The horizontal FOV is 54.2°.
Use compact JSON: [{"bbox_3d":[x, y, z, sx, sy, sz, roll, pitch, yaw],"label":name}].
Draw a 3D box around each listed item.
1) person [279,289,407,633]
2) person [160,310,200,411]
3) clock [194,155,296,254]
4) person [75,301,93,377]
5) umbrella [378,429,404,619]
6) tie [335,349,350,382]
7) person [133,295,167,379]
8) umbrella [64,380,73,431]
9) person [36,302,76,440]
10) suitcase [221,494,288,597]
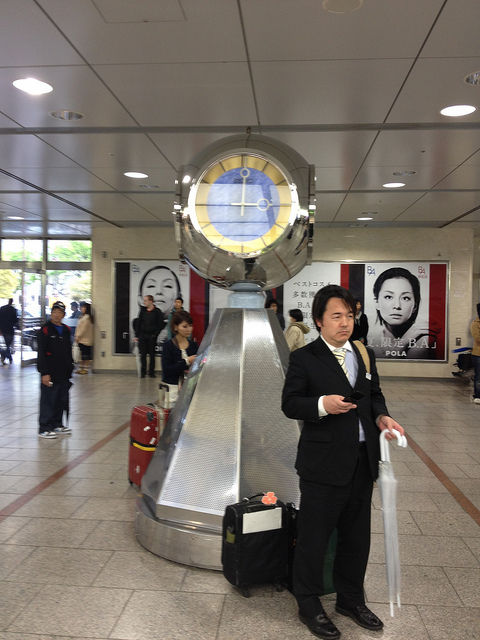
[{"bbox_3d":[0.432,0.589,1.863,0.484,1.423,0.403,0,3,-29],"label":"person"},{"bbox_3d":[-0.553,0.348,4.210,0.303,0.842,0.296,2,2,-3],"label":"person"},{"bbox_3d":[0.019,-0.552,2.233,0.455,0.465,0.132,2,2,17],"label":"clock"},{"bbox_3d":[-3.958,0.455,12.053,0.442,1.757,0.614,2,2,6],"label":"person"},{"bbox_3d":[0.550,0.732,1.774,0.079,0.648,0.230,2,2,7],"label":"umbrella"},{"bbox_3d":[0.410,0.164,1.891,0.029,0.088,0.067,-15,7,13],"label":"tie"},{"bbox_3d":[-2.190,0.388,11.407,0.680,1.938,0.333,1,2,-10],"label":"person"},{"bbox_3d":[-2.179,1.073,5.998,0.099,0.566,0.110,2,1,-17],"label":"umbrella"},{"bbox_3d":[-2.295,0.610,5.841,0.422,1.667,0.668,1,2,-20],"label":"person"},{"bbox_3d":[0.077,1.013,2.198,0.296,0.376,0.168,0,-6,-22],"label":"suitcase"}]
